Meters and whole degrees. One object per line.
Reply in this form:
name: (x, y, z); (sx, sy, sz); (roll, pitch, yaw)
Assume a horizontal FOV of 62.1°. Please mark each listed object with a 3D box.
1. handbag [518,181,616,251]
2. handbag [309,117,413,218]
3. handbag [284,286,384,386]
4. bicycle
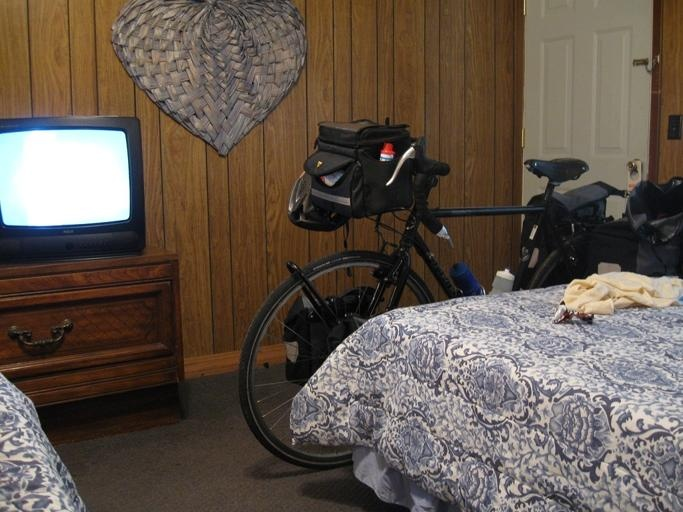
handbag: (1.294, -0.258, 3.244); (0.454, 0.196, 0.368); (-14, 17, -23)
handbag: (0.048, -0.355, 2.282); (0.351, 0.386, 0.385); (-8, 16, -32)
handbag: (-0.037, 0.264, 2.213); (0.278, 0.376, 0.354); (-2, 8, -13)
bicycle: (0.364, 0.084, 3.025); (2.043, 1.383, 1.062); (-8, 8, -26)
